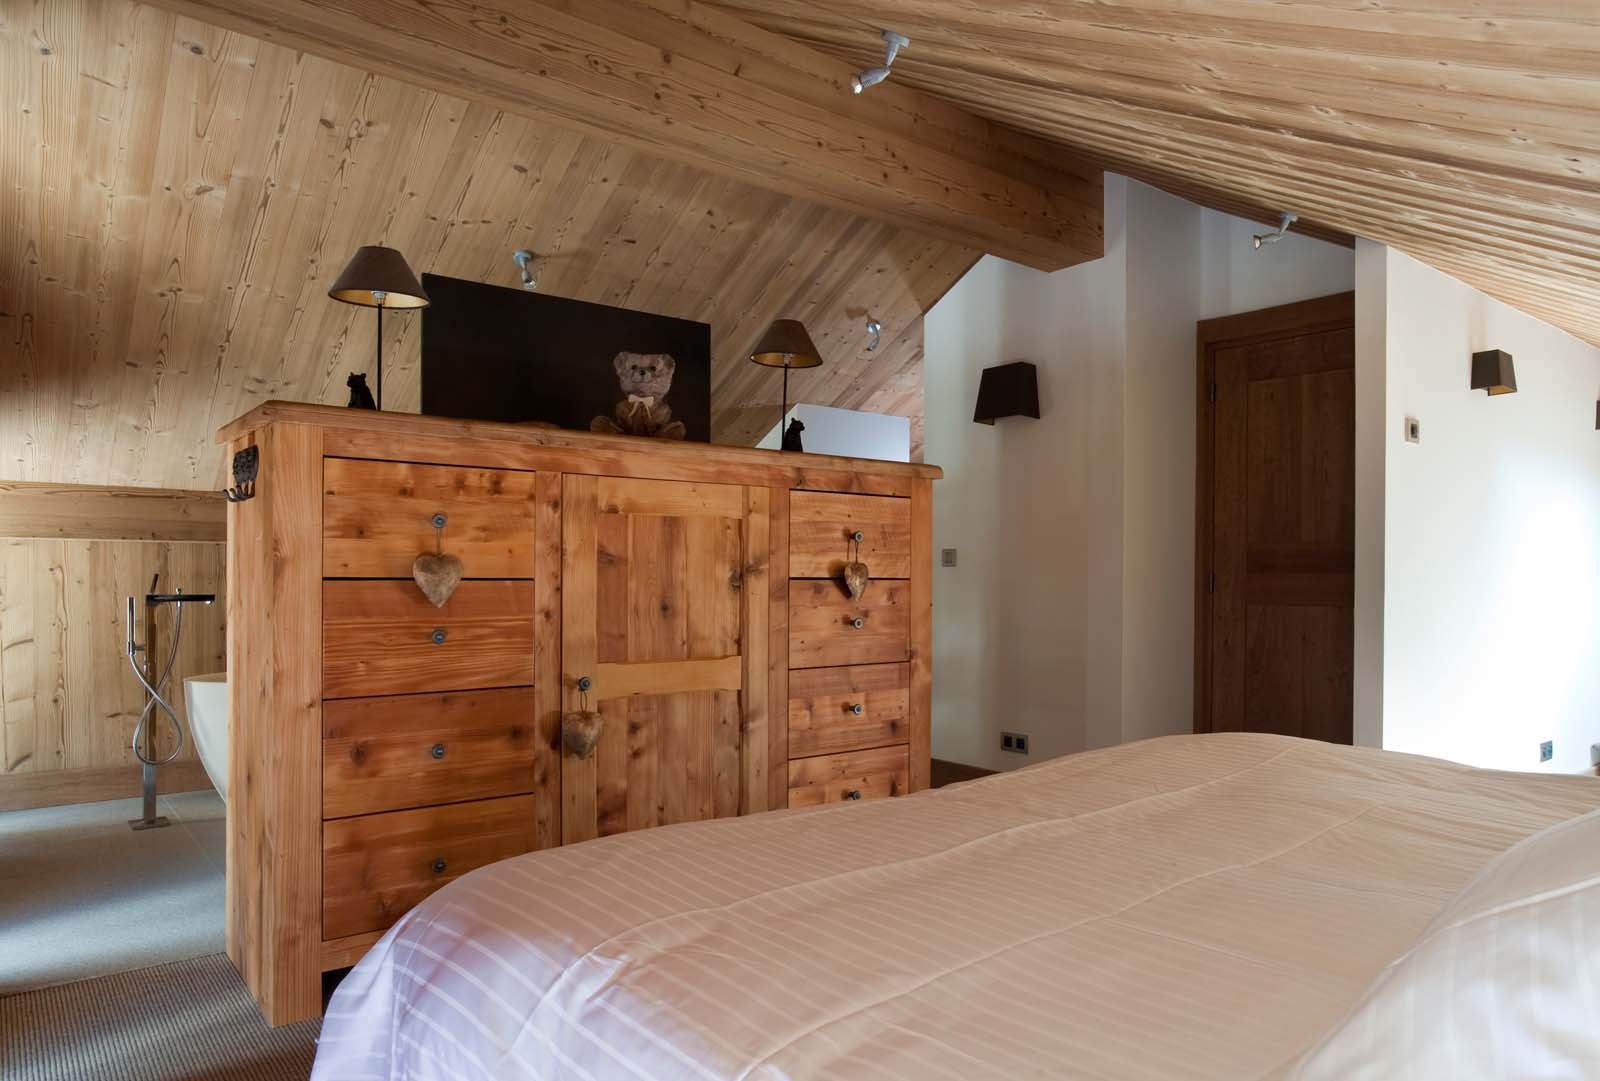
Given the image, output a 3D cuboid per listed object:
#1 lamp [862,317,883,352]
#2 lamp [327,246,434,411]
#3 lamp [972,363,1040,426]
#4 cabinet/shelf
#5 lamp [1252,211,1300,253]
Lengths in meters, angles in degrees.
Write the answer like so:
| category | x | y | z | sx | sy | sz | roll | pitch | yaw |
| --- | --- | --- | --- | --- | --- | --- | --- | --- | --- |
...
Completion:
| category | x | y | z | sx | sy | sz | roll | pitch | yaw |
| --- | --- | --- | --- | --- | --- | --- | --- | --- | --- |
| lamp | 0.411 | -1.174 | 6.364 | 0.133 | 0.130 | 0.144 | 21 | 1 | -19 |
| lamp | -1.551 | -0.734 | 4.133 | 0.334 | 0.601 | 0.323 | -2 | -7 | 12 |
| lamp | 1.070 | -0.750 | 5.756 | 0.339 | 0.359 | 0.188 | 4 | -3 | 39 |
| cabinet/shelf | -0.661 | 0.553 | 4.126 | 2.466 | 1.803 | 0.934 | 1 | 1 | -30 |
| lamp | 2.233 | -1.449 | 5.250 | 0.263 | 0.204 | 0.167 | -5 | 11 | -33 |
